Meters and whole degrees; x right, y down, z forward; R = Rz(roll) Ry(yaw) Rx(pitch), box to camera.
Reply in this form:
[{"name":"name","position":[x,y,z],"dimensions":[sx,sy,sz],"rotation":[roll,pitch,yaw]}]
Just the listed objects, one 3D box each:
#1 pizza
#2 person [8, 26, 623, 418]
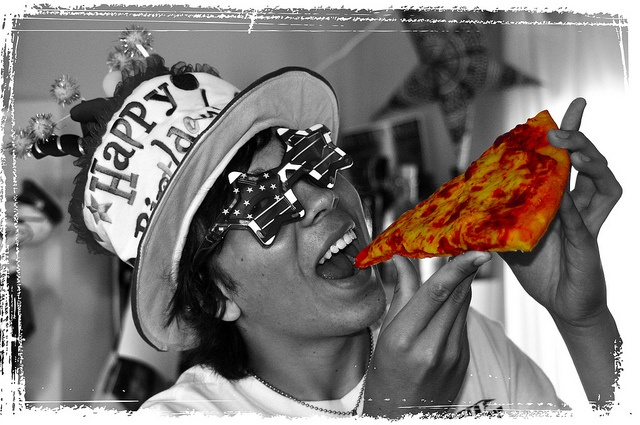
[{"name":"pizza","position":[0.567,-0.016,3.556],"dimensions":[0.698,0.105,0.595],"rotation":[-22,36,22]},{"name":"person","position":[-0.010,0.246,3.675],"dimensions":[2.049,1.575,0.814],"rotation":[26,-21,24]}]
